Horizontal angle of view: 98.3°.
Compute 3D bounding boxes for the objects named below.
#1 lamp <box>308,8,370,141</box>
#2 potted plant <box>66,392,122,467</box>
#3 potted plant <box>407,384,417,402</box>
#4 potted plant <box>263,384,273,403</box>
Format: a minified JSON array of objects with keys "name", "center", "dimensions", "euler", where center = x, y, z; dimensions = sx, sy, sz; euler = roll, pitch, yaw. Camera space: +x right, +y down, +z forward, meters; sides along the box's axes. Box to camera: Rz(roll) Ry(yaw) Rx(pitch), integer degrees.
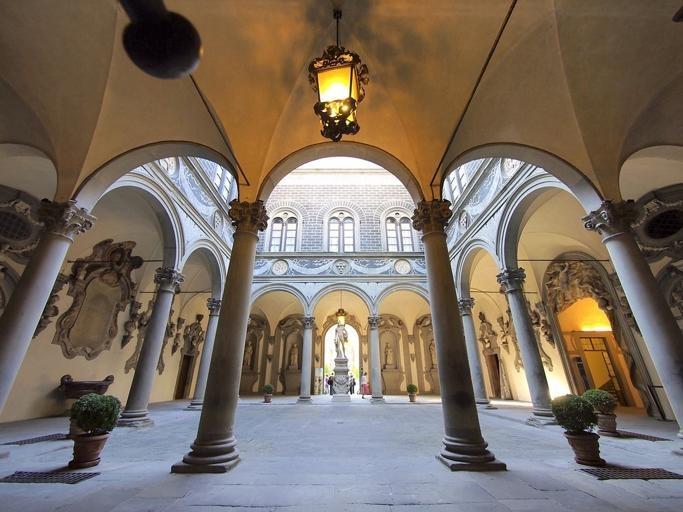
[{"name":"lamp","center":[-0.028,-1.906,3.517],"dimensions":[0.719,1.179,0.488],"euler":[-4,-21,5]},{"name":"potted plant","center":[-3.863,2.611,4.534],"dimensions":[0.587,0.992,0.512],"euler":[11,-25,-31]},{"name":"potted plant","center":[3.381,6.404,14.018],"dimensions":[0.412,0.706,0.674],"euler":[-7,-21,12]},{"name":"potted plant","center":[-3.624,6.578,14.406],"dimensions":[0.368,0.748,1.287],"euler":[2,-21,-13]}]
